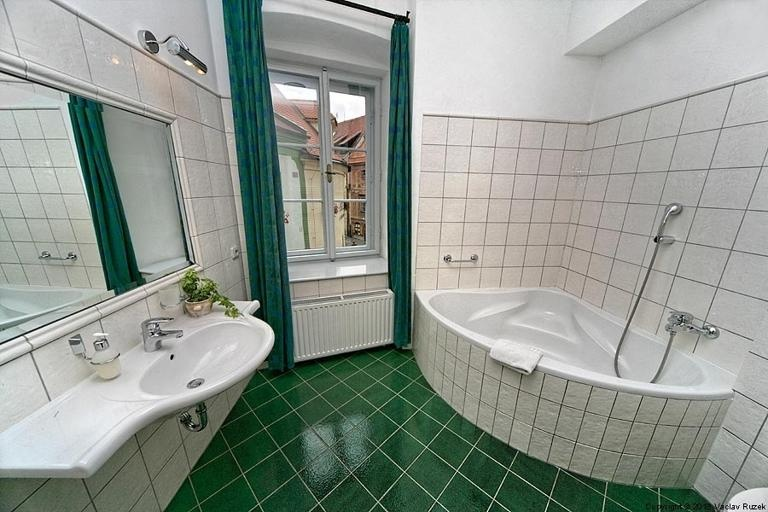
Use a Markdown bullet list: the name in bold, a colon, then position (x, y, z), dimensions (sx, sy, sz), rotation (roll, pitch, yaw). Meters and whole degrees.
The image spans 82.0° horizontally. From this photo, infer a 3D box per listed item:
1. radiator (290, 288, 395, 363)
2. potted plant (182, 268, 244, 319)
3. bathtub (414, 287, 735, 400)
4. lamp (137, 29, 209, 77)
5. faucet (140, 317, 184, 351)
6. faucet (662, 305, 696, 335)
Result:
- **radiator**: position (-0.383, 0.570, 3.740), dimensions (0.684, 0.409, 0.109), rotation (-4, 26, -15)
- **potted plant**: position (-1.202, 0.271, 3.048), dimensions (0.465, 0.198, 0.241), rotation (12, 28, 18)
- **bathtub**: position (1.392, 0.658, 3.408), dimensions (2.076, 0.535, 1.062), rotation (9, 15, 39)
- **lamp**: position (-1.336, -1.319, 2.869), dimensions (0.425, 0.211, 0.176), rotation (26, 29, -18)
- **faucet**: position (-1.398, 0.492, 2.790), dimensions (0.245, 0.223, 0.128), rotation (0, 13, -3)
- **faucet**: position (2.071, 0.463, 3.083), dimensions (0.175, 0.134, 0.133), rotation (4, 13, 21)
